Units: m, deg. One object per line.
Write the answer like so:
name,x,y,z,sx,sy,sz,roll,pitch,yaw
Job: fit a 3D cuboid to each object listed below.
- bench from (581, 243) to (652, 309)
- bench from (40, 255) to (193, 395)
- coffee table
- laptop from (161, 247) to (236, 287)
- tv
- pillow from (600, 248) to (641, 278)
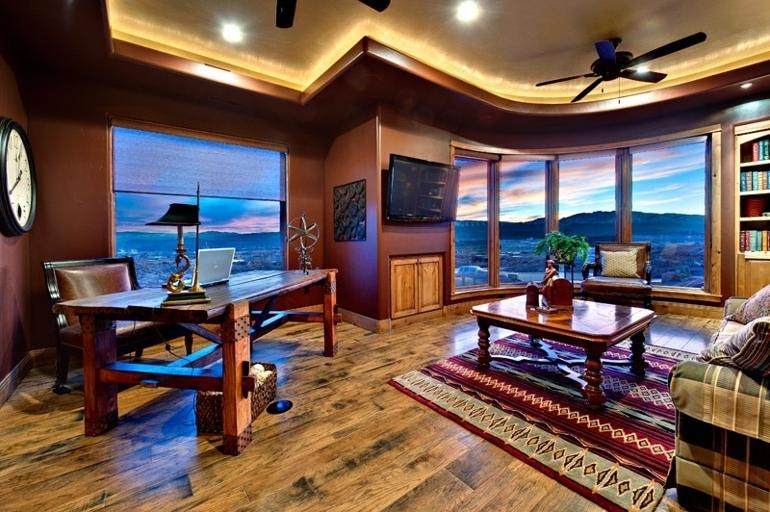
bench,3.610,0.329,7.263,0.933,1.052,0.887,2,4,24
bench,-3.105,0.740,5.524,1.503,1.361,1.475,-3,2,-6
coffee table,1.928,0.899,5.338,1.382,0.627,1.357,-5,6,-40
laptop,-1.996,0.109,5.077,0.546,0.419,0.615,7,7,29
tv,0.620,-0.987,7.175,0.122,0.917,1.641,12,9,44
pillow,3.720,0.127,7.364,0.461,0.426,0.169,-1,-12,34
